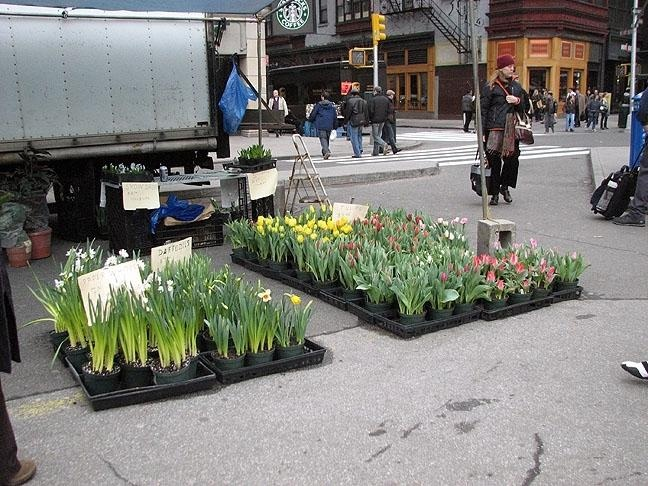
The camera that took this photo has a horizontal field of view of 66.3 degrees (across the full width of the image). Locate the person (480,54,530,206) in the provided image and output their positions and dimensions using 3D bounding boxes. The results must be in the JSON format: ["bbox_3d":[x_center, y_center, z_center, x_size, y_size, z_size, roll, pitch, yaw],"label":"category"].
[{"bbox_3d":[3.540,-2.141,9.697,1.194,3.212,0.980,1,3,35],"label":"person"}]

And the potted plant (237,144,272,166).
[{"bbox_3d":[-1.067,-1.396,7.899,0.302,0.265,0.536,11,22,30],"label":"potted plant"}]

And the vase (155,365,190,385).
[{"bbox_3d":[-1.062,0.927,3.470,0.136,0.105,0.143,-1,7,14],"label":"vase"}]

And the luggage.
[{"bbox_3d":[5.089,-1.085,8.729,0.663,1.260,0.873,10,20,26],"label":"luggage"}]

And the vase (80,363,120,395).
[{"bbox_3d":[-1.569,0.959,3.473,0.183,0.168,0.190,-2,12,-18],"label":"vase"}]

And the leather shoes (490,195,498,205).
[{"bbox_3d":[3.465,-0.871,10.073,0.149,0.220,0.494,-1,1,19],"label":"leather shoes"}]

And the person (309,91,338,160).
[{"bbox_3d":[0.015,-4.368,18.571,0.849,2.593,1.361,-4,8,-35],"label":"person"}]

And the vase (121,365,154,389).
[{"bbox_3d":[-1.337,0.925,3.496,0.169,0.153,0.181,-2,9,-24],"label":"vase"}]
